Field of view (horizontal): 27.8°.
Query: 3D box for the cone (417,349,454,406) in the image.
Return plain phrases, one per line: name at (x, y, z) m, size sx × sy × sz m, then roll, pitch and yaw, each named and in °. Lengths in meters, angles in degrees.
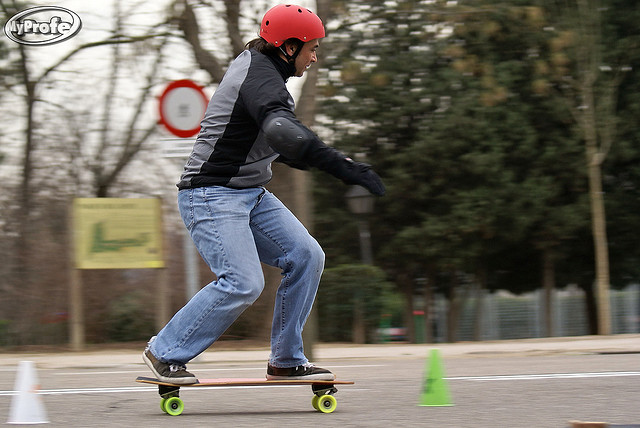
cone at (1.463, 2.055, 16.595) m, size 0.455 × 0.709 × 0.872 m, roll -3°, pitch -8°, yaw 4°
